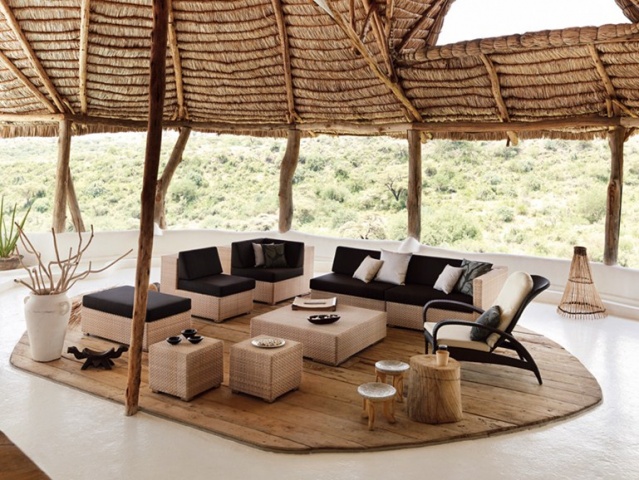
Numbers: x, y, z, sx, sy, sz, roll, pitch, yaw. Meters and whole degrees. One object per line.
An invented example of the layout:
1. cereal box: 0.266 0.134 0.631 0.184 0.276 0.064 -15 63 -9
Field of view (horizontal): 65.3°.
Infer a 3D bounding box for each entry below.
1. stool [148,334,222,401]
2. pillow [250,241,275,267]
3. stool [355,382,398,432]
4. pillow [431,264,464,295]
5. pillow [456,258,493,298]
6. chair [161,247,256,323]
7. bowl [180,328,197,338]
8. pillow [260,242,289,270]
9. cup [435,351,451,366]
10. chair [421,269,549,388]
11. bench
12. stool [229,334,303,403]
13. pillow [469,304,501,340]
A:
1. stool: -1.302 1.138 4.782 0.596 0.420 0.601 3 5 37
2. pillow: -0.896 0.233 7.744 0.398 0.380 0.155 3 -17 -26
3. stool: 0.478 1.391 4.275 0.351 0.286 0.360 -5 7 -34
4. pillow: 1.637 0.487 6.355 0.110 0.319 0.349 32 -9 -26
5. pillow: 1.974 0.493 6.334 0.137 0.422 0.442 33 -19 -30
6. chair: -1.556 0.539 7.073 1.287 0.897 0.892 7 12 36
7. bowl: -1.303 0.925 4.888 0.126 0.044 0.118 2 4 0
8. pillow: -0.738 0.245 7.821 0.416 0.353 0.115 3 -18 -17
9. cup: 1.075 1.020 4.311 0.128 0.111 0.122 0 1 0
10. chair: 1.595 0.900 5.396 1.448 1.074 1.005 0 2 3
11. bench: -2.189 0.891 5.938 1.140 0.539 0.658 7 13 29
12. stool: -0.519 1.195 4.781 0.582 0.470 0.515 7 13 27
13. pillow: 1.672 0.844 4.994 0.278 0.325 0.355 5 12 19
